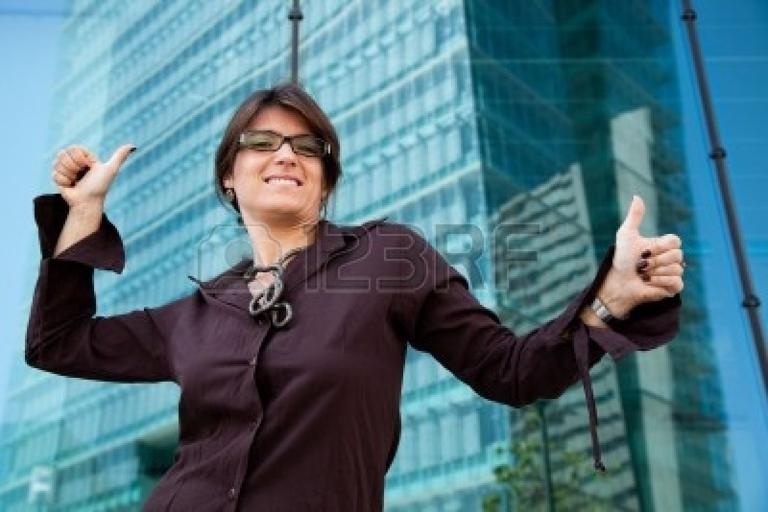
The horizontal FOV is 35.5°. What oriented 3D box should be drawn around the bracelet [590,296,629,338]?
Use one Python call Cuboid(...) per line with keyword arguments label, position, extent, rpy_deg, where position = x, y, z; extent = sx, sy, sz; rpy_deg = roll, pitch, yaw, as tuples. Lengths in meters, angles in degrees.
Cuboid(label="bracelet", position=(0.772, 0.205, 4.123), extent=(0.041, 0.105, 0.102), rpy_deg=(-46, -50, 9))
